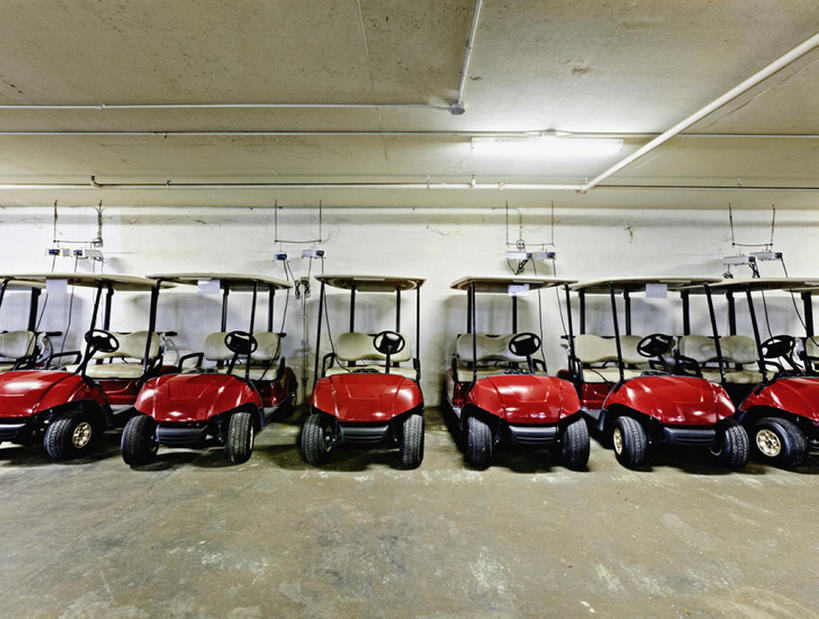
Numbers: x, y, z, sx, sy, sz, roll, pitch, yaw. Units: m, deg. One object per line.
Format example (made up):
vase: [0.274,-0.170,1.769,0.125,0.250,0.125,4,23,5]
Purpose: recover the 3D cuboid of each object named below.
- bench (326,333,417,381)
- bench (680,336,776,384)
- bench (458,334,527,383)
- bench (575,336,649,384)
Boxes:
bench: [-0.485,0.650,6.951,0.741,0.706,0.889,0,-23,0]
bench: [4.145,0.731,6.906,1.030,0.576,0.550,0,15,0]
bench: [1.063,0.675,7.110,0.587,0.747,0.898,1,-21,-3]
bench: [2.631,0.599,6.831,1.190,0.687,0.595,0,-8,-4]
